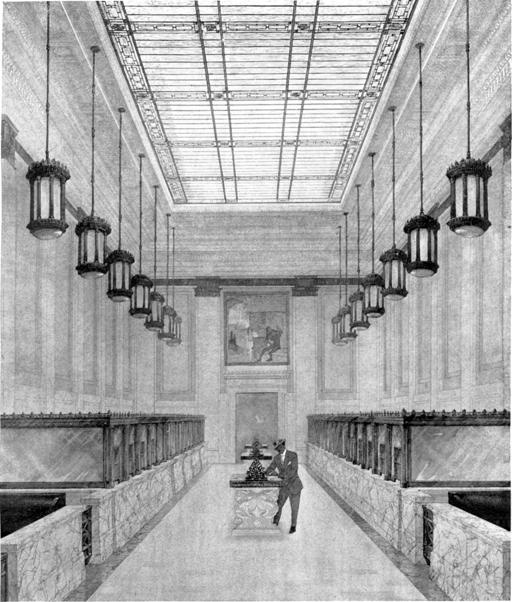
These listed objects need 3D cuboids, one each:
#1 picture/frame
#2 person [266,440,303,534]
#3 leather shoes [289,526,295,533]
[{"bbox_3d":[-0.061,0.736,26.453,1.925,2.496,0.104,0,-11,0],"label":"picture/frame"},{"bbox_3d":[0.380,2.544,13.744,0.471,1.252,1.471,-2,-9,2],"label":"person"},{"bbox_3d":[0.474,3.017,13.126,0.065,0.096,0.209,-1,-16,4],"label":"leather shoes"}]
